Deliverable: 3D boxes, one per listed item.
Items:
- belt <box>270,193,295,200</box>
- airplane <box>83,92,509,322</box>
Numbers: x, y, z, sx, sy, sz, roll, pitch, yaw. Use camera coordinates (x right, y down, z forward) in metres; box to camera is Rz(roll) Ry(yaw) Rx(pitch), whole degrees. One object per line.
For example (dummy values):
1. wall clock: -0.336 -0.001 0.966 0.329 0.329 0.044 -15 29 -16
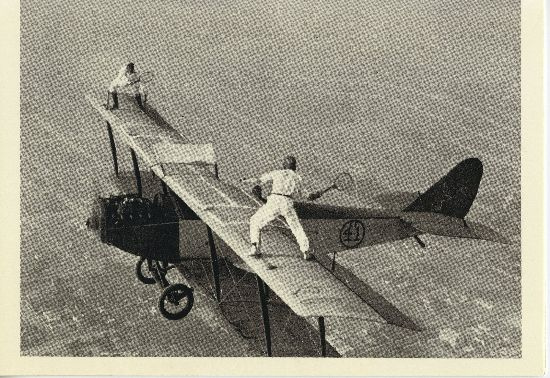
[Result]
1. belt: 0.061 0.057 6.501 0.162 0.060 0.020 -1 44 13
2. airplane: 0.123 0.298 6.692 2.755 1.183 3.332 -1 12 -5
